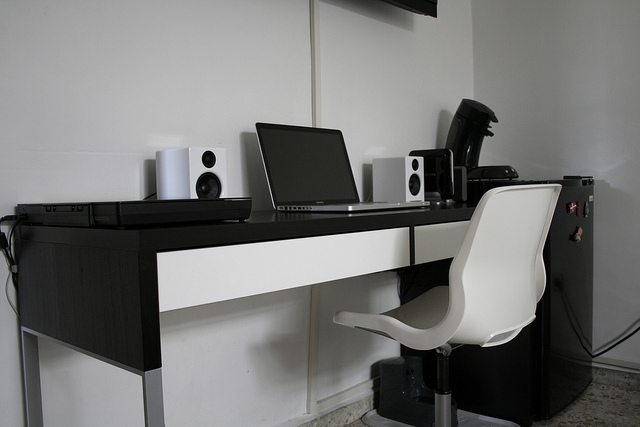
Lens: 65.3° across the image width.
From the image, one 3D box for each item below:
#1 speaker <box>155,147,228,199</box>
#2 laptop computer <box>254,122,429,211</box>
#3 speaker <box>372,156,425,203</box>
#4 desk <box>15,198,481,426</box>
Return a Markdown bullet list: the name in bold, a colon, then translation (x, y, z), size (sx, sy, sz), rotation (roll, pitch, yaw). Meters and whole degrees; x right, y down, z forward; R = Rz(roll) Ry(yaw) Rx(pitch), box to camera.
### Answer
- **speaker**: translation (-0.488, -0.150, 1.934), size (0.201, 0.219, 0.202), rotation (0, 2, 36)
- **laptop computer**: translation (0.093, -0.214, 2.176), size (0.540, 0.407, 0.643), rotation (-1, 1, 36)
- **speaker**: translation (0.395, -0.150, 2.535), size (0.223, 0.252, 0.226), rotation (-2, 1, 31)
- **desk**: translation (-0.287, 0.361, 1.810), size (1.538, 0.767, 0.572), rotation (-5, 12, -20)
